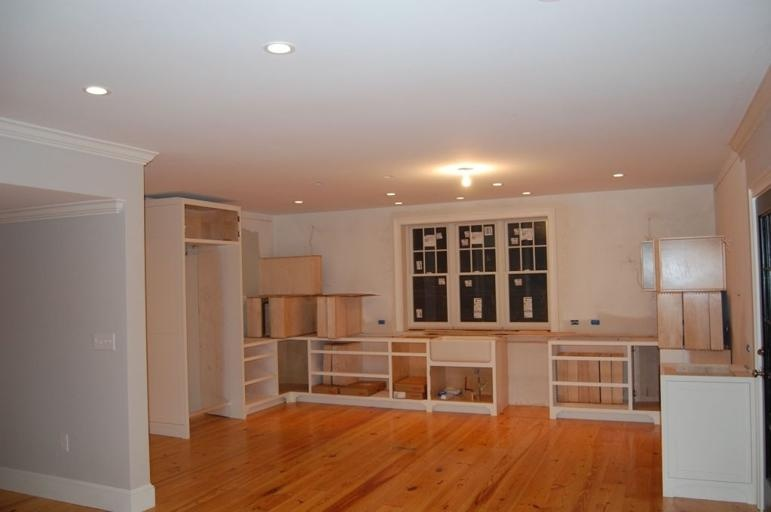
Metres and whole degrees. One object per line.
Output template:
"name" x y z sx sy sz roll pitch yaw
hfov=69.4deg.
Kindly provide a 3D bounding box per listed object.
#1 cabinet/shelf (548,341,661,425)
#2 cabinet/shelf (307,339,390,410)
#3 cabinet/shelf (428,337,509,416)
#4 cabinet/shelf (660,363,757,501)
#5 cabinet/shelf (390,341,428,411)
"cabinet/shelf" 2.736 1.599 6.923 1.182 0.766 0.369 -2 -9 18
"cabinet/shelf" -0.460 1.705 8.091 0.972 0.530 0.944 -2 -6 23
"cabinet/shelf" 1.113 1.547 7.492 0.927 0.998 0.669 0 3 21
"cabinet/shelf" 2.847 1.579 5.387 1.048 1.331 1.027 -1 -3 23
"cabinet/shelf" 0.317 1.521 7.745 0.512 0.829 0.774 -1 2 1
